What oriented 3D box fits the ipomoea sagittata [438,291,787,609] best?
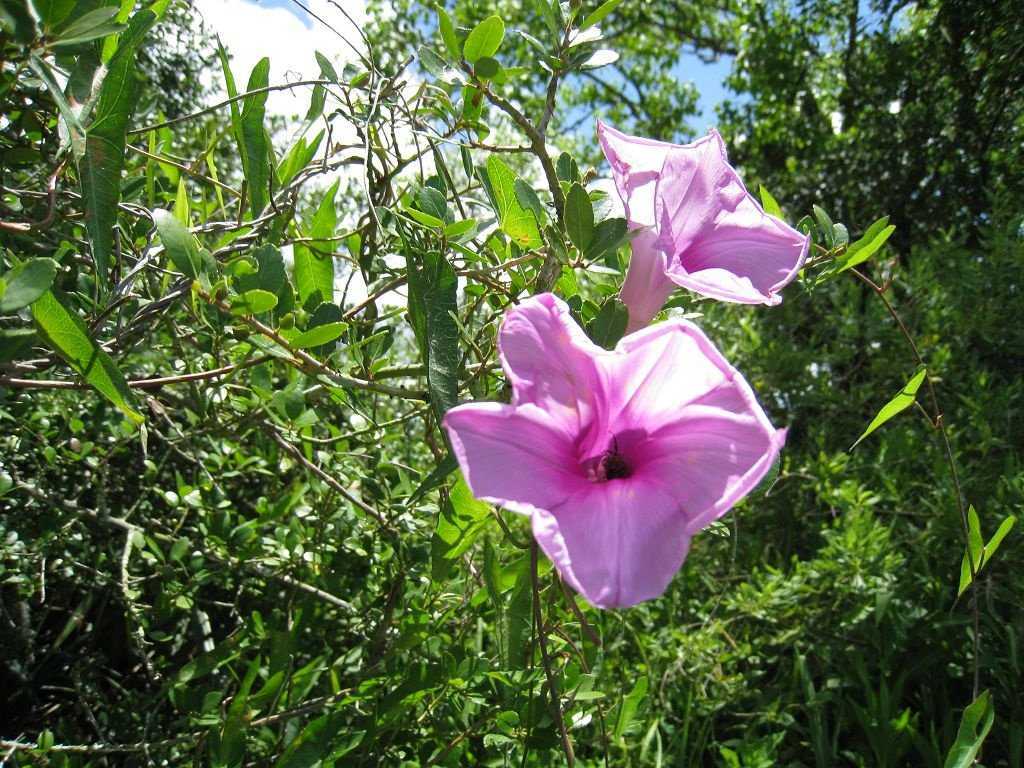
[{"bbox_3d":[0.214,0.187,2.218,0.820,0.429,0.947,-16,20,-23],"label":"ipomoea sagittata"}]
